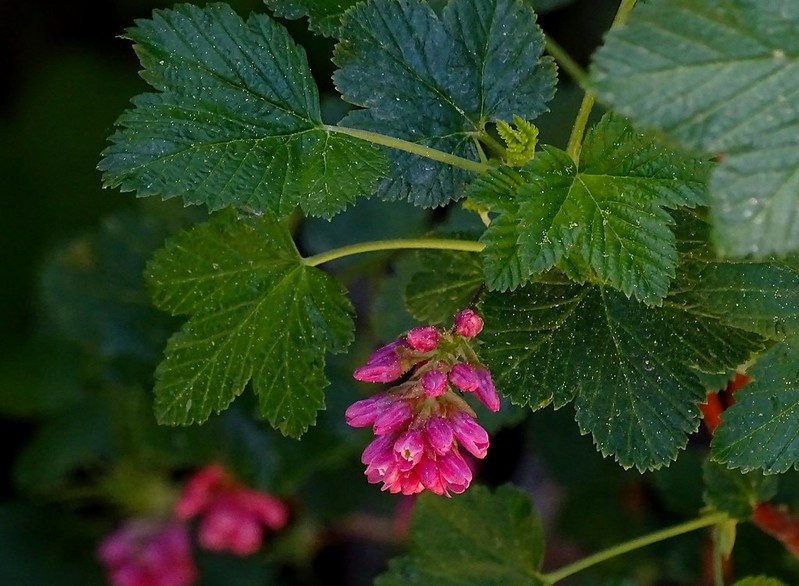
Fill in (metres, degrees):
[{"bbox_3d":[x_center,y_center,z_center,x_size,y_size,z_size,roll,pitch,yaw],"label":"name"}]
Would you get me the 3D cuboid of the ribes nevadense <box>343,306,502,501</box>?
[{"bbox_3d":[0.043,0.198,1.657,0.275,0.342,0.186,2,9,6],"label":"ribes nevadense"}]
